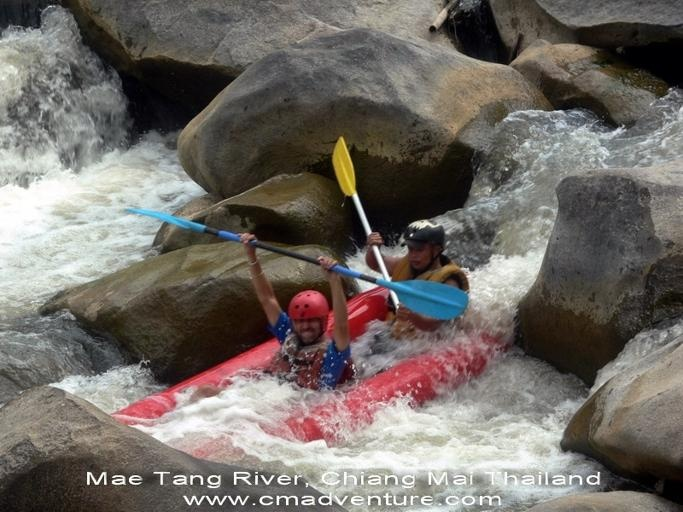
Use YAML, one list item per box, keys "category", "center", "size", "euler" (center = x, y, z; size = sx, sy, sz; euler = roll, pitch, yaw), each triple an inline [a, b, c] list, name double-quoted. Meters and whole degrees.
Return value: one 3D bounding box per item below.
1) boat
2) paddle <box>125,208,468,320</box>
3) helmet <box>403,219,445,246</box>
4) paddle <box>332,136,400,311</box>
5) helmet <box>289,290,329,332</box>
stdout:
- category: "boat"
  center: [0.033, 0.999, 7.221]
  size: [2.330, 0.357, 1.094]
  euler: [-21, 13, -20]
- category: "paddle"
  center: [-0.260, 0.048, 8.093]
  size: [3.041, 0.157, 0.258]
  euler: [15, 85, 35]
- category: "helmet"
  center: [0.691, -0.188, 7.937]
  size: [0.301, 0.120, 0.203]
  euler: [9, 4, -18]
- category: "paddle"
  center: [0.210, -0.335, 8.898]
  size: [0.227, 1.839, 0.094]
  euler: [-28, -13, 2]
- category: "helmet"
  center: [-0.237, 0.442, 7.338]
  size: [0.287, 0.246, 0.348]
  euler: [-7, -7, 36]
